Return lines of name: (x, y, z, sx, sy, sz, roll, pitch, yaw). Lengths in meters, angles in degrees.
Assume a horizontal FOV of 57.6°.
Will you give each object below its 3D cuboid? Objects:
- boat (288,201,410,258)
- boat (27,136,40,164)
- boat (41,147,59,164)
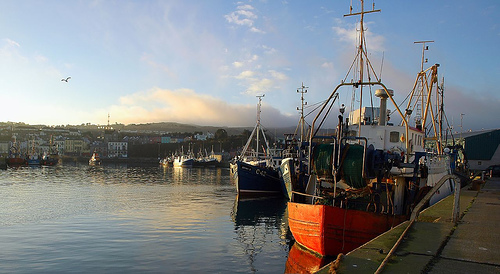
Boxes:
boat: (5.514, 5.472, 27.113, 5.653, 1.592, 3.377, 8, -12, -2)
boat: (-67.617, 4.126, 142.739, 2.907, 7.826, 31.359, 2, -1, -26)
boat: (-60.880, 5.849, 138.448, 4.924, 2.990, 6.576, 0, -4, -35)
